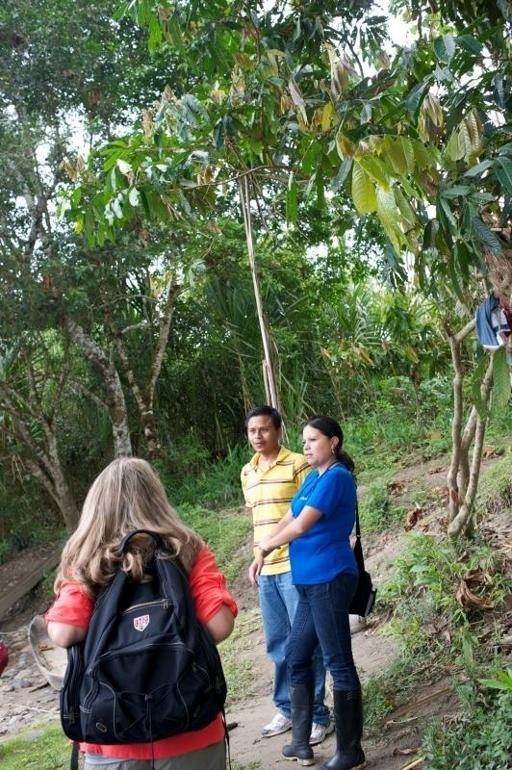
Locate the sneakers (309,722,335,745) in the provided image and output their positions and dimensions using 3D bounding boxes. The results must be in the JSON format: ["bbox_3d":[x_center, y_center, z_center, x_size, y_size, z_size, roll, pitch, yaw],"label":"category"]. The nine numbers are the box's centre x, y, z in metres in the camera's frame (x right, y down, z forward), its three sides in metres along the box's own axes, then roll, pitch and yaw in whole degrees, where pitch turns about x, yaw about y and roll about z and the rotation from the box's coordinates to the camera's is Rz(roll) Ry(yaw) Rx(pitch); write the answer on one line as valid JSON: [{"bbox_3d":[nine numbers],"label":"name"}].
[{"bbox_3d":[0.325,1.692,3.238,0.066,0.081,0.196,-4,-16,20],"label":"sneakers"}]

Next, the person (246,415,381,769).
[{"bbox_3d":[0.253,0.894,2.892,0.541,1.343,0.487,-14,-4,18],"label":"person"}]
